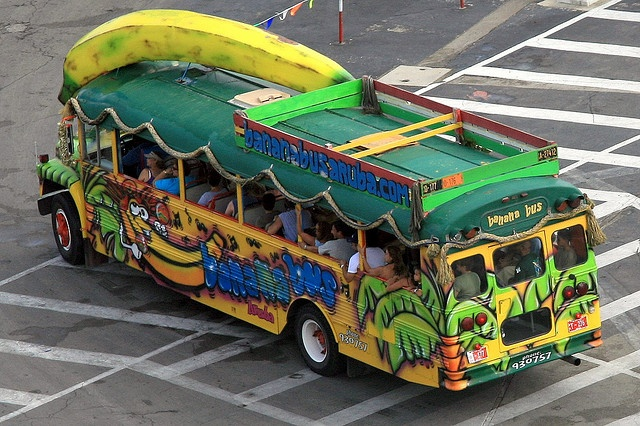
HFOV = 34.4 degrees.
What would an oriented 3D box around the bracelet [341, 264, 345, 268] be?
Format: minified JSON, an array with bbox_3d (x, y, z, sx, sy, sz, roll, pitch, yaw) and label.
[{"bbox_3d":[0.350,0.818,15.918,0.061,0.021,0.086,1,11,-10],"label":"bracelet"}]

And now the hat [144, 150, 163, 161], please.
[{"bbox_3d":[-3.011,-1.037,18.719,0.314,0.083,0.178,7,7,17],"label":"hat"}]

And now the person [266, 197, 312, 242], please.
[{"bbox_3d":[-0.499,0.135,16.746,0.861,0.357,0.211,-25,19,27],"label":"person"}]

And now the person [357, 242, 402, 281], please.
[{"bbox_3d":[1.050,0.826,15.670,0.668,0.656,0.540,5,15,37],"label":"person"}]

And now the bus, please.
[{"bbox_3d":[-0.128,-0.027,17.637,8.893,3.049,3.746,21,31,35],"label":"bus"}]

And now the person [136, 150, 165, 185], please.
[{"bbox_3d":[-3.029,-0.818,18.599,0.763,0.289,0.255,-34,29,44],"label":"person"}]

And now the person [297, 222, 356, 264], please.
[{"bbox_3d":[-0.050,0.457,16.272,1.000,0.414,0.569,3,16,-5],"label":"person"}]
